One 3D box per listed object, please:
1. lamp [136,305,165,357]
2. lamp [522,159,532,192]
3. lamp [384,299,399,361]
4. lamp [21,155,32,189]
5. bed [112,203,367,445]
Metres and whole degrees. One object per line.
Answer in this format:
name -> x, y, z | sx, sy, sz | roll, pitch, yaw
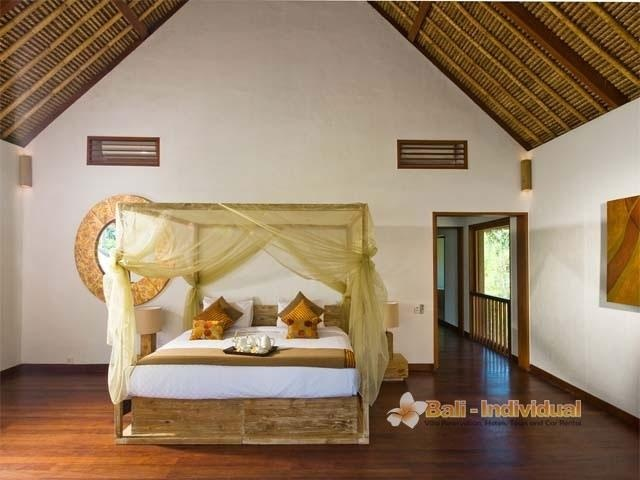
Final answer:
lamp -> -2.473, 1.310, 7.150 | 0.454, 0.677, 0.481 | 2, 7, 2
lamp -> 3.123, -0.975, 7.519 | 0.157, 0.446, 0.162 | 0, 11, 2
lamp -> 1.052, 1.314, 7.284 | 0.172, 0.821, 0.592 | 2, 12, 12
lamp -> -4.414, -1.011, 7.471 | 0.104, 0.451, 0.183 | 4, 5, 22
bed -> -0.892, 1.025, 6.942 | 2.654, 2.397, 2.814 | 0, 1, 0
